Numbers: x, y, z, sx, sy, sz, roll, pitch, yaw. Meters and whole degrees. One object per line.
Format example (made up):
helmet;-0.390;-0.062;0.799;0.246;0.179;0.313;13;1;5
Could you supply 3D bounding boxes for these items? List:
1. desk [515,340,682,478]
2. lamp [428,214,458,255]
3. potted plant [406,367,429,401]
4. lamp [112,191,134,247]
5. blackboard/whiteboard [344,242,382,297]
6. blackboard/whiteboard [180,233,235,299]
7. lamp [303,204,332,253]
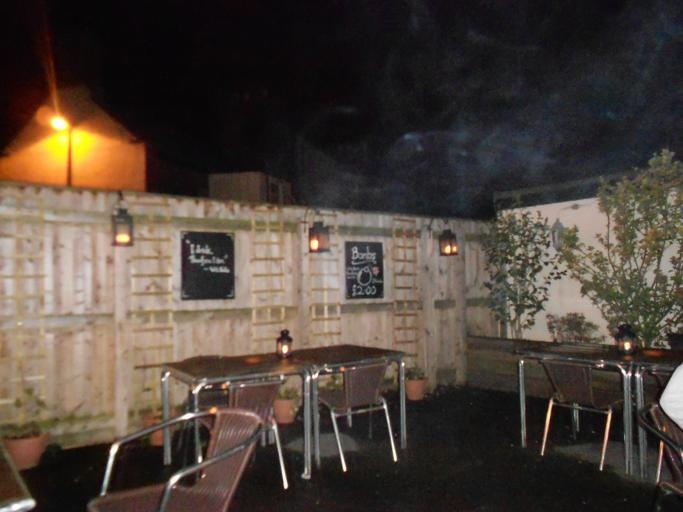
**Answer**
desk;3.069;1.676;6.160;1.651;1.278;1.431;4;7;36
lamp;1.607;-0.259;8.197;0.321;0.483;0.320;10;6;39
potted plant;1.162;2.031;7.966;0.366;0.318;0.385;0;-7;-9
lamp;-2.743;-0.459;6.420;0.254;0.709;0.446;-3;6;-23
blackboard/whiteboard;0.314;0.229;8.141;0.743;1.067;0.103;5;-11;-34
blackboard/whiteboard;-1.869;0.150;7.022;0.779;1.034;0.100;5;-8;-36
lamp;-0.374;-0.339;7.201;0.350;0.662;0.205;-4;9;-42
